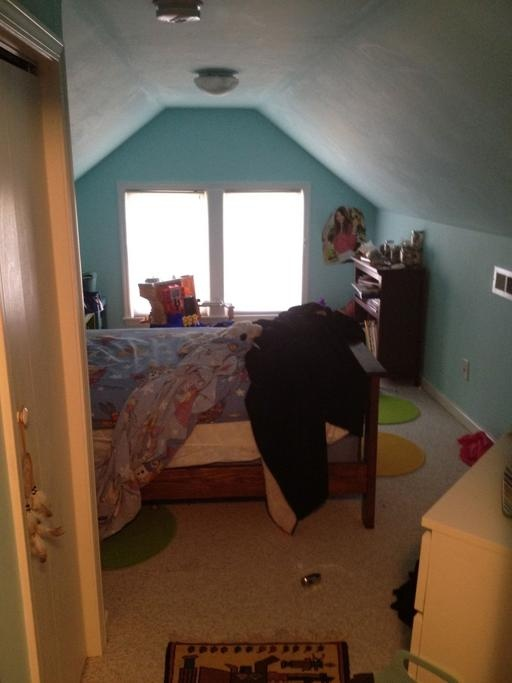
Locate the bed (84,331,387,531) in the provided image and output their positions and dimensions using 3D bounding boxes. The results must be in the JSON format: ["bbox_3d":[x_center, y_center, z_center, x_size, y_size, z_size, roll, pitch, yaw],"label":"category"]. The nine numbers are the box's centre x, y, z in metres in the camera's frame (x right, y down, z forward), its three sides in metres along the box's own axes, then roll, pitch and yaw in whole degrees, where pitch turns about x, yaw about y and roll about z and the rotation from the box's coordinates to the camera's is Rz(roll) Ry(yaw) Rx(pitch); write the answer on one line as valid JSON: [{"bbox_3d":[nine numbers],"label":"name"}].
[{"bbox_3d":[-0.130,0.302,2.350,1.103,0.498,0.945,-3,23,-6],"label":"bed"}]

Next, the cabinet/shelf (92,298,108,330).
[{"bbox_3d":[-1.384,-0.241,4.711,0.093,0.172,0.300,-2,23,-10],"label":"cabinet/shelf"}]

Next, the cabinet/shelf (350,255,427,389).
[{"bbox_3d":[0.950,-0.134,3.714,0.348,0.845,0.913,0,14,4],"label":"cabinet/shelf"}]

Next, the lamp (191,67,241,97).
[{"bbox_3d":[-0.252,-1.643,3.368,0.286,0.092,0.382,-2,13,-6],"label":"lamp"}]
